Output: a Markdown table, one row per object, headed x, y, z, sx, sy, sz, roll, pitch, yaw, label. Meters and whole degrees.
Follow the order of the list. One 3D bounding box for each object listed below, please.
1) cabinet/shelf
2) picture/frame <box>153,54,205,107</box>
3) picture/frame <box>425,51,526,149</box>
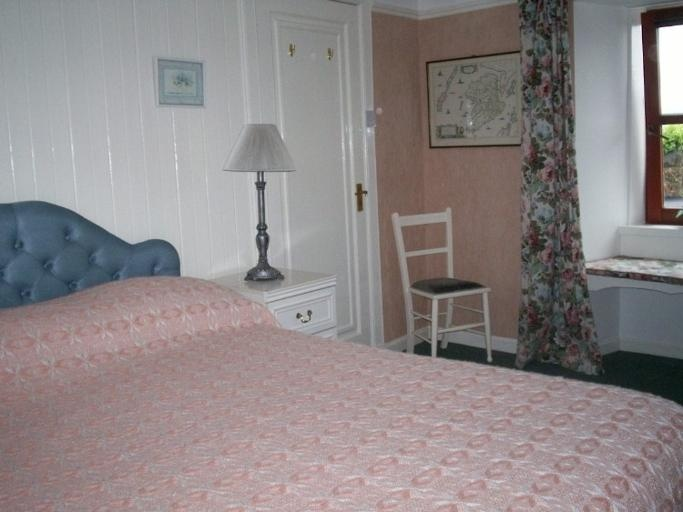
| x | y | z | sx | sy | sz | roll | pitch | yaw | label |
| --- | --- | --- | --- | --- | --- | --- | --- | --- | --- |
| -0.351 | 0.228 | 3.079 | 0.450 | 0.450 | 0.470 | 8 | 17 | 33 | cabinet/shelf |
| -0.924 | -0.990 | 3.024 | 0.024 | 0.280 | 0.321 | 2 | 4 | 43 | picture/frame |
| 1.084 | -1.241 | 4.319 | 0.786 | 0.715 | 0.016 | 0 | 6 | 12 | picture/frame |
